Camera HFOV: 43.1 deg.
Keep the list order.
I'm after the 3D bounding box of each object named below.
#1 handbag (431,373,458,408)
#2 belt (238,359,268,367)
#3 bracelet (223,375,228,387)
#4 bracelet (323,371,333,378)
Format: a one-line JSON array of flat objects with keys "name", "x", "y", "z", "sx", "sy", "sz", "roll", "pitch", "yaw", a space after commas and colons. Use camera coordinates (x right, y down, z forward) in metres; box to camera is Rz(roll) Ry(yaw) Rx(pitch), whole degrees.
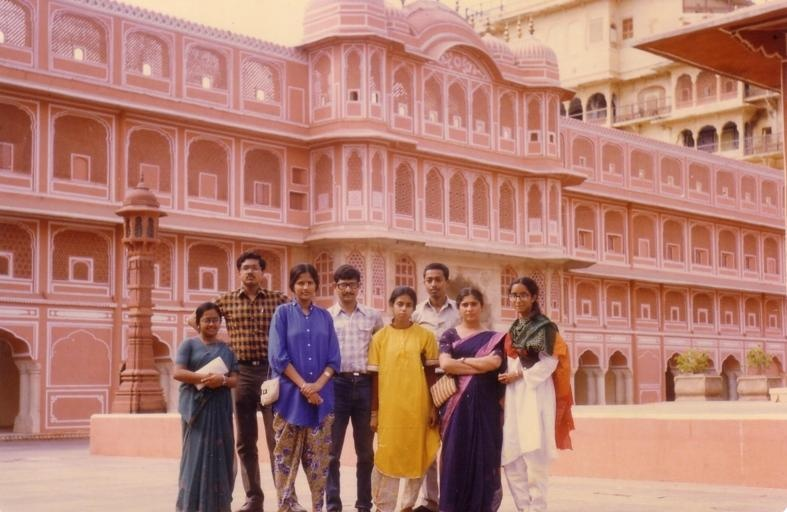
[{"name": "handbag", "x": 0.602, "y": 1.647, "z": 12.241, "sx": 0.364, "sy": 0.357, "sz": 0.112, "roll": -37, "pitch": -45, "yaw": 24}, {"name": "belt", "x": -1.789, "y": 1.367, "z": 12.739, "sx": 0.358, "sy": 0.070, "sz": 0.066, "roll": 3, "pitch": -10, "yaw": -17}, {"name": "bracelet", "x": -2.075, "y": 1.536, "z": 12.312, "sx": 0.079, "sy": 0.103, "sz": 0.039, "roll": 2, "pitch": -8, "yaw": -26}, {"name": "bracelet", "x": -0.791, "y": 1.437, "z": 12.176, "sx": 0.094, "sy": 0.066, "sz": 0.130, "roll": -6, "pitch": 8, "yaw": -35}]
